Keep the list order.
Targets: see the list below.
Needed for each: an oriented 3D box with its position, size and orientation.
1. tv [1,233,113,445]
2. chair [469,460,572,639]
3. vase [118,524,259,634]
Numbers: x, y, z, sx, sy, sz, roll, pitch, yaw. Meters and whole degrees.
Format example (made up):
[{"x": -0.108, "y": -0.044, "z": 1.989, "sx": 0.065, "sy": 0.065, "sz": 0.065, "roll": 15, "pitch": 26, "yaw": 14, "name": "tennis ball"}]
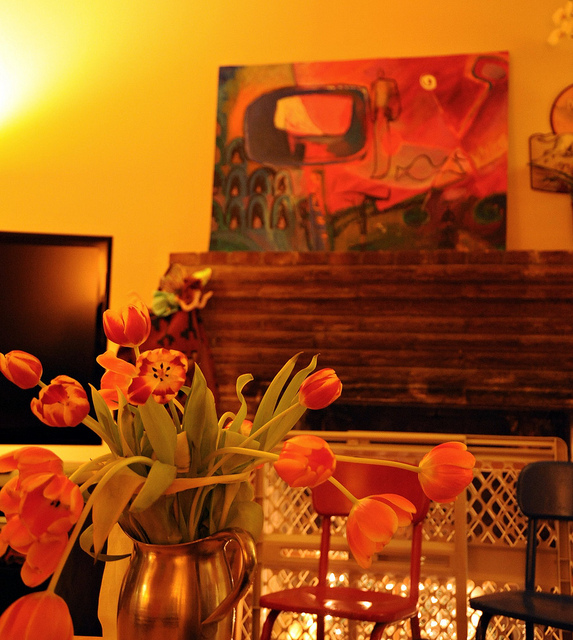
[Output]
[{"x": -0.905, "y": 0.058, "z": 2.465, "sx": 0.463, "sy": 0.831, "sz": 0.168, "roll": 1, "pitch": -13, "yaw": 13, "name": "tv"}, {"x": 0.637, "y": 0.597, "z": 1.734, "sx": 0.274, "sy": 0.489, "sz": 0.512, "roll": 0, "pitch": -16, "yaw": 17, "name": "chair"}, {"x": -0.096, "y": 0.247, "z": 0.603, "sx": 0.118, "sy": 0.109, "sz": 0.133, "roll": 9, "pitch": -16, "yaw": -15, "name": "vase"}]
